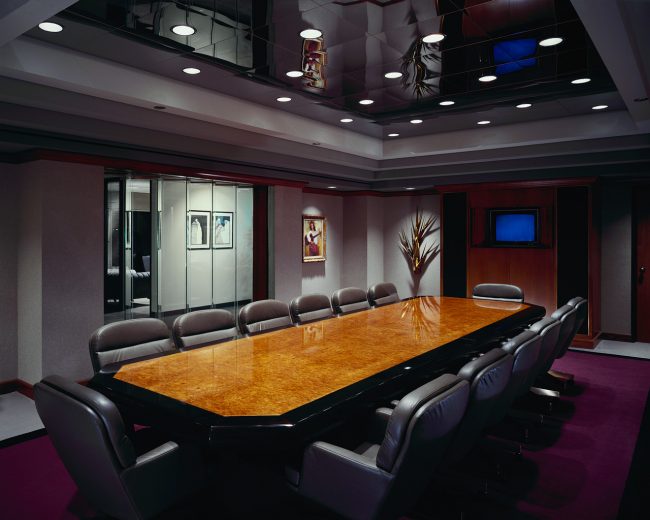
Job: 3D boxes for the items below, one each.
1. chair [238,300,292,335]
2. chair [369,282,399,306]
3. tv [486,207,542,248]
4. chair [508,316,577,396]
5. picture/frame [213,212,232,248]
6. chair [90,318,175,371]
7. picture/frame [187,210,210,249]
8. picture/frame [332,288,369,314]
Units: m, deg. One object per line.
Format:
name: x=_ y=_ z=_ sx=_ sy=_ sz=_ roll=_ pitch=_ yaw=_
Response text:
chair: x=-0.564 y=0.524 z=4.225 sx=0.300 sy=0.456 sz=0.346 roll=1 pitch=-9 yaw=-43
chair: x=0.712 y=0.437 z=5.698 sx=0.277 sy=0.403 sz=0.304 roll=-1 pitch=-3 yaw=-40
tv: x=3.111 y=-0.529 z=7.519 sx=0.942 sy=0.883 sz=0.496 roll=0 pitch=1 yaw=43
chair: x=1.849 y=0.820 z=3.882 sx=0.441 sy=0.651 sz=0.824 roll=0 pitch=5 yaw=36
picture/frame: x=-1.576 y=-0.463 z=6.936 sx=0.350 sy=0.538 sz=0.023 roll=-1 pitch=-4 yaw=21
chair: x=-1.368 y=0.593 z=3.284 sx=0.504 sy=0.491 sz=0.416 roll=-1 pitch=-5 yaw=-42
picture/frame: x=-1.850 y=-0.458 z=6.542 sx=0.043 sy=0.705 sz=0.494 roll=3 pitch=4 yaw=33
picture/frame: x=0.280 y=0.463 z=5.198 sx=0.281 sy=0.423 sz=0.309 roll=2 pitch=-4 yaw=-35
